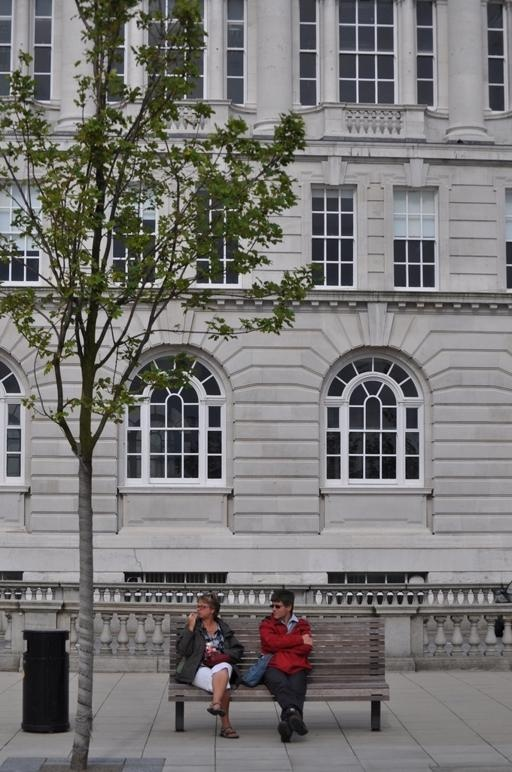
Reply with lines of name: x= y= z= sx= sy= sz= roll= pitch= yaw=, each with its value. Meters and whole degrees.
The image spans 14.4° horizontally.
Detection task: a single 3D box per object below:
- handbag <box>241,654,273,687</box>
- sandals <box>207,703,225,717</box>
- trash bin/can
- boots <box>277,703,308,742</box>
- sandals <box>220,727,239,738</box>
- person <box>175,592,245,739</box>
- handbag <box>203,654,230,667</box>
handbag: x=0.056 y=3.561 z=25.143 sx=0.262 sy=0.430 sz=0.106 roll=20 pitch=-24 yaw=47
sandals: x=-0.444 y=3.973 z=24.693 sx=0.205 sy=0.172 sz=0.282 roll=0 pitch=-5 yaw=-2
trash bin/can: x=-2.615 y=3.728 z=25.188 sx=0.619 sy=1.255 sz=0.659 roll=-2 pitch=-13 yaw=1
boots: x=0.464 y=4.073 z=24.483 sx=0.205 sy=0.244 sz=0.569 roll=-8 pitch=-45 yaw=4
sandals: x=-0.298 y=4.280 z=24.895 sx=0.266 sy=0.143 sz=0.220 roll=-2 pitch=-5 yaw=17
person: x=-0.486 y=3.487 z=25.150 sx=0.755 sy=1.755 sz=0.865 roll=4 pitch=-6 yaw=-45
handbag: x=-0.468 y=3.404 z=25.139 sx=0.330 sy=0.210 sz=0.161 roll=1 pitch=-5 yaw=-12
